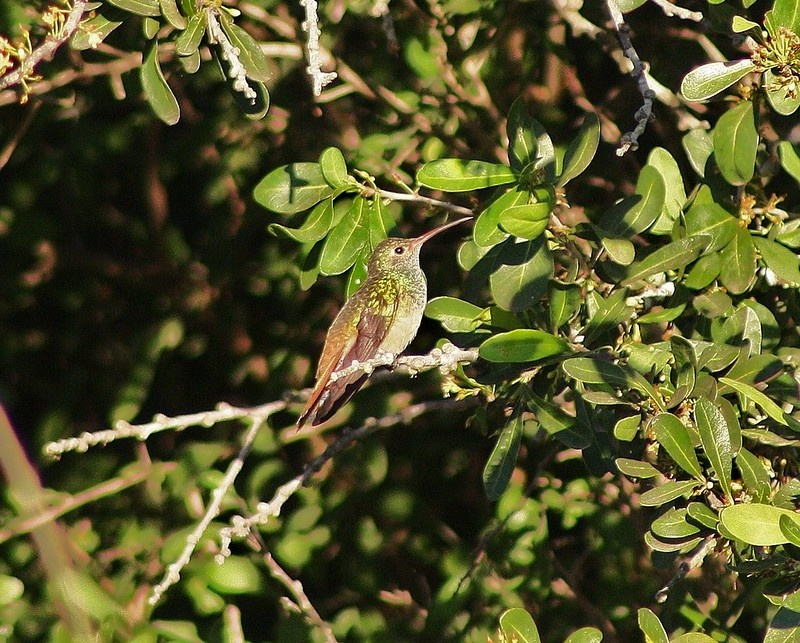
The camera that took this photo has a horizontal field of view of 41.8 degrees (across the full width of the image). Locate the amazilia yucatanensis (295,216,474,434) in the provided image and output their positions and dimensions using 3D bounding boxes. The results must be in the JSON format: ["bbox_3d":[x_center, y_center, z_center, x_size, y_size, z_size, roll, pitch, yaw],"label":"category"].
[{"bbox_3d":[-0.101,0.011,3.389,0.245,0.535,0.628,36,57,7],"label":"amazilia yucatanensis"}]
